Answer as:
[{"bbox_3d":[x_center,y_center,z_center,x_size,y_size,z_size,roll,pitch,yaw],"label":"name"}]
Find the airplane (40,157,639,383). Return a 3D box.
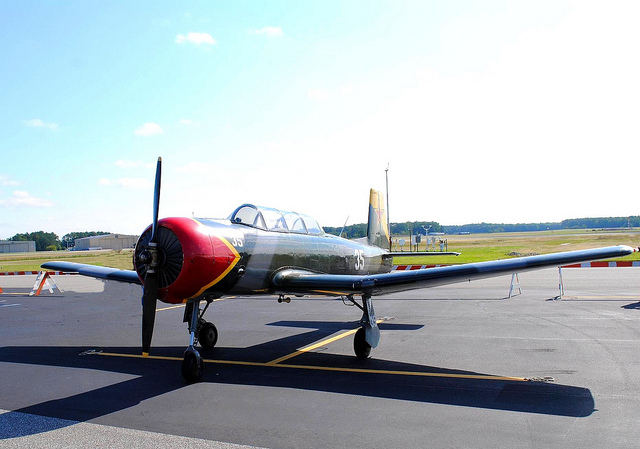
[{"bbox_3d":[-0.069,0.957,9.306,7.252,3.738,7.801,5,-7,-37],"label":"airplane"}]

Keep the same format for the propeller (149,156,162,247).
[{"bbox_3d":[-2.758,-0.413,7.448,0.124,1.540,1.025,3,-6,-20],"label":"propeller"}]
